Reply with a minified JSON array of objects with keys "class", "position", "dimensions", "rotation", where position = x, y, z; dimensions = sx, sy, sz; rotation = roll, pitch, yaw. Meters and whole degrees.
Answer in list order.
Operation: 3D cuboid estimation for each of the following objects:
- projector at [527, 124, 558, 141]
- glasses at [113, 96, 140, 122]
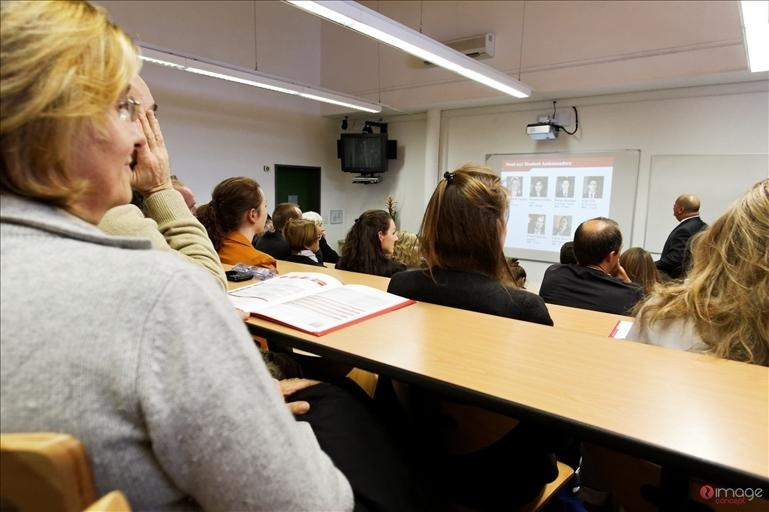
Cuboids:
[{"class":"projector","position":[1.988,-1.549,6.068],"dimensions":[0.293,0.156,0.418],"rotation":[6,9,31]},{"class":"glasses","position":[-0.434,-0.254,0.817],"dimensions":[0.035,0.036,0.026],"rotation":[-9,-10,12]}]
